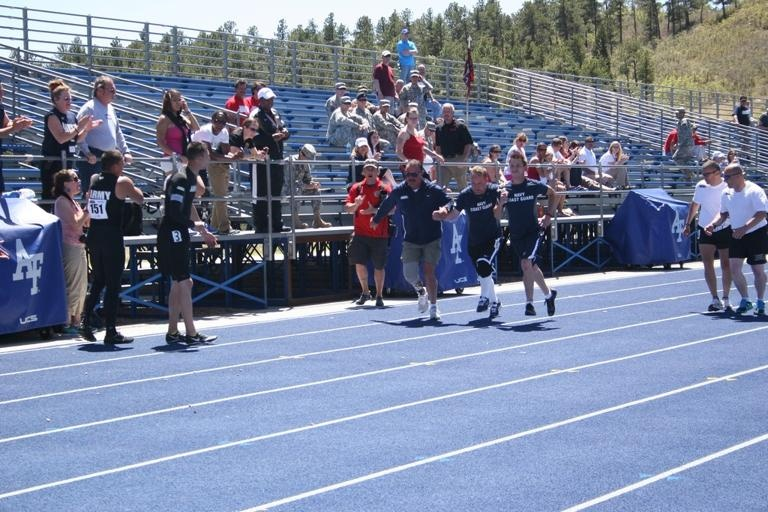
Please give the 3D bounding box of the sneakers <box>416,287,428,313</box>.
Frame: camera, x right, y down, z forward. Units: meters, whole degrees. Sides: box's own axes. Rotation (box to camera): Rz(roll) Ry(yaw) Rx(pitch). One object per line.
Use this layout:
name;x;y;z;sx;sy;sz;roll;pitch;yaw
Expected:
sneakers;0.574;0.718;19.023;0.158;0.429;0.200;-2;8;35

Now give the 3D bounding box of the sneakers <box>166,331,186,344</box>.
sneakers;-2.972;1.170;16.899;0.302;0.116;0.122;-2;11;-9

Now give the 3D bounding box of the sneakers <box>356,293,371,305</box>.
sneakers;-0.357;0.730;20.314;0.114;0.132;0.342;4;11;39

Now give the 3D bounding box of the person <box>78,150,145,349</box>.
person;-3.891;-0.112;16.851;0.839;2.704;0.687;-3;11;-18

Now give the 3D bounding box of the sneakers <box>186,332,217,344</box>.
sneakers;-2.624;1.163;16.941;0.461;0.150;0.157;-2;3;-10

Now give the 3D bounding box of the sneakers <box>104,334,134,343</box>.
sneakers;-3.787;1.159;16.916;0.440;0.157;0.145;-2;4;-18

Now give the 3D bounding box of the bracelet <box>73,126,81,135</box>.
bracelet;-4.612;-1.843;17.776;0.041;0.091;0.128;5;11;24

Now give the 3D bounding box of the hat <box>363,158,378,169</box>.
hat;-0.247;-1.503;19.785;0.327;0.151;0.488;1;0;2
